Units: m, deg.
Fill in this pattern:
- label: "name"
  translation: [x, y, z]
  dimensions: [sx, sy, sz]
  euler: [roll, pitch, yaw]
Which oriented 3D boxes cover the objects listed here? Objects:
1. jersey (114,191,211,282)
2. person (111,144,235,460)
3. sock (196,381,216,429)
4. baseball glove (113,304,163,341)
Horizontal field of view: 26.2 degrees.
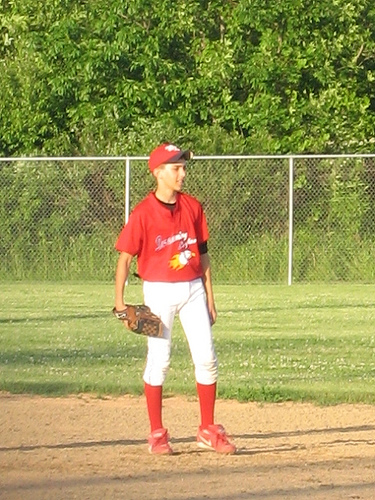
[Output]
- label: "jersey"
  translation: [-0.129, -0.068, 4.313]
  dimensions: [0.517, 0.474, 0.228]
  euler: [-1, 3, -11]
- label: "person"
  translation: [-0.084, 0.268, 4.339]
  dimensions: [0.623, 1.671, 0.384]
  euler: [-1, 3, -7]
- label: "sock"
  translation: [0.126, 0.854, 4.426]
  dimensions: [0.138, 0.257, 0.130]
  euler: [-3, 4, -39]
- label: "baseball glove"
  translation: [-0.278, 0.350, 4.247]
  dimensions: [0.291, 0.127, 0.168]
  euler: [20, 15, -16]
